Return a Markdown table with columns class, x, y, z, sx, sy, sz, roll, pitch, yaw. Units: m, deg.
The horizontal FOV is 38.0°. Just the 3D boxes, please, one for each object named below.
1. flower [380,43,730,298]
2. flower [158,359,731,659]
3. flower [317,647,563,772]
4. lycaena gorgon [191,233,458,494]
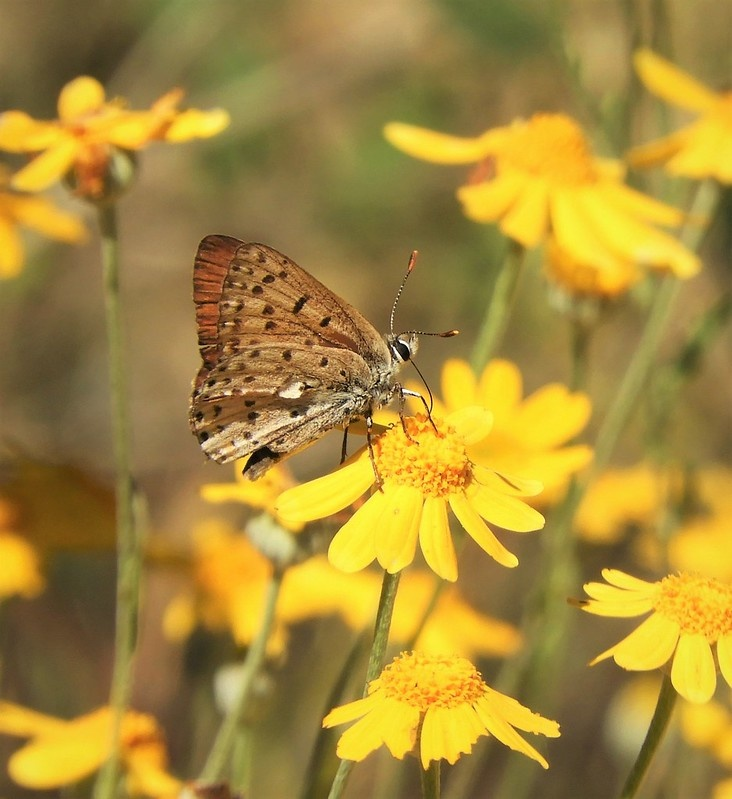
| class | x | y | z | sx | sy | sz | roll | pitch | yaw |
| --- | --- | --- | --- | --- | --- | --- | --- | --- | --- |
| flower | 0.109 | -0.125 | 0.587 | 0.195 | 0.123 | 0.084 | -2 | 26 | 1 |
| flower | 0.001 | 0.034 | 0.646 | 0.218 | 0.178 | 0.053 | -2 | 16 | -7 |
| flower | 0.026 | 0.150 | 0.521 | 0.120 | 0.031 | 0.124 | 0 | -5 | -26 |
| lycaena gorgon | -0.044 | -0.016 | 0.614 | 0.192 | 0.125 | 0.131 | -14 | -6 | -11 |
